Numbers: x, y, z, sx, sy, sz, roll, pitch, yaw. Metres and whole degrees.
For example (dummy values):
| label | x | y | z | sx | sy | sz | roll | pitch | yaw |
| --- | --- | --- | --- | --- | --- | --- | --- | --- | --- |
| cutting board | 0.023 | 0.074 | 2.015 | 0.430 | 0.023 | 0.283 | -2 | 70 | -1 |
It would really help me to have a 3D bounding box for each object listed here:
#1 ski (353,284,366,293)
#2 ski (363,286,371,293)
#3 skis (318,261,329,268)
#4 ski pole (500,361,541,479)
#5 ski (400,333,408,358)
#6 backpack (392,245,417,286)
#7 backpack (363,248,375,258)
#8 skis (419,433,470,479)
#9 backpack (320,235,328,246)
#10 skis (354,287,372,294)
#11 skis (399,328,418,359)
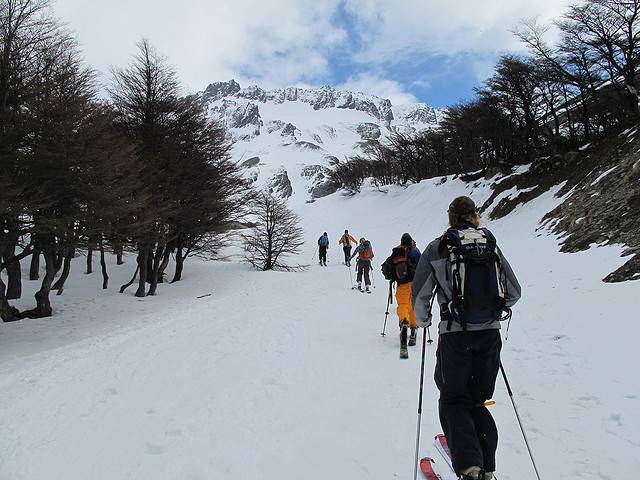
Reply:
| label | x | y | z | sx | sy | sz | roll | pitch | yaw |
| --- | --- | --- | --- | --- | --- | --- | --- | --- | --- |
| ski | 1.378 | 1.717 | 15.893 | 0.386 | 0.159 | 0.133 | 36 | 16 | 37 |
| ski | 1.658 | 1.692 | 15.842 | 0.193 | 0.125 | 1.026 | -1 | 3 | 1 |
| skis | 0.197 | 1.304 | 24.594 | 0.166 | 0.239 | 0.534 | 3 | -18 | -30 |
| ski pole | 3.269 | 3.021 | 7.381 | 0.074 | 1.887 | 0.046 | -21 | -26 | 27 |
| ski | 1.757 | 2.255 | 9.473 | 0.155 | 0.381 | 0.223 | 0 | 4 | 11 |
| backpack | 1.786 | 0.540 | 9.610 | 0.534 | 0.876 | 0.350 | 1 | 5 | 28 |
| backpack | 1.689 | 0.459 | 15.563 | 0.303 | 0.340 | 0.230 | 9 | -3 | 45 |
| skis | 1.738 | 3.291 | 6.635 | 0.272 | 0.255 | 0.955 | -3 | 27 | -2 |
| backpack | 0.171 | 0.003 | 23.545 | 0.353 | 0.593 | 0.647 | 0 | 4 | 10 |
| skis | 1.474 | 1.743 | 15.667 | 0.166 | 0.210 | 0.496 | 5 | -1 | -41 |
| skis | 1.885 | 2.207 | 9.660 | 0.227 | 0.303 | 0.691 | -1 | 15 | 11 |
